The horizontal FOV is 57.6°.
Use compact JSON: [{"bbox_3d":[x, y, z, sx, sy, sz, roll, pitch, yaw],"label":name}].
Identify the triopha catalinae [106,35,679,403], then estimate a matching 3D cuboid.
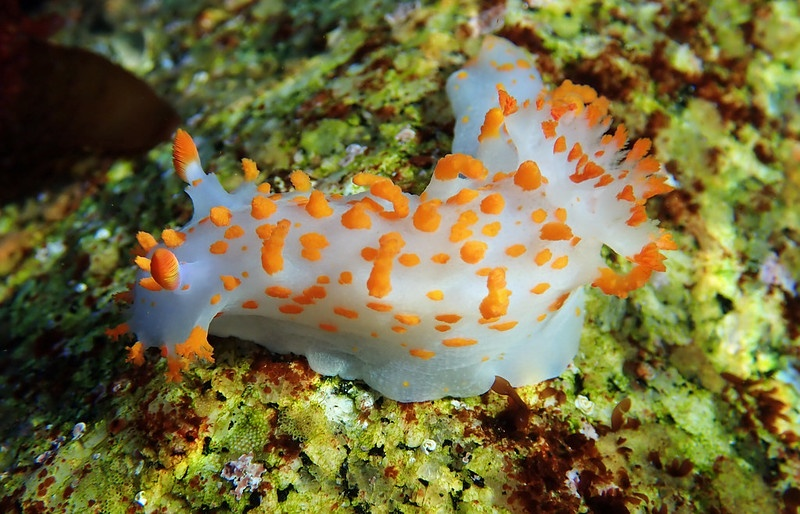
[{"bbox_3d":[-0.168,-0.258,5.058,3.470,1.213,2.440,-12,46,-16],"label":"triopha catalinae"}]
